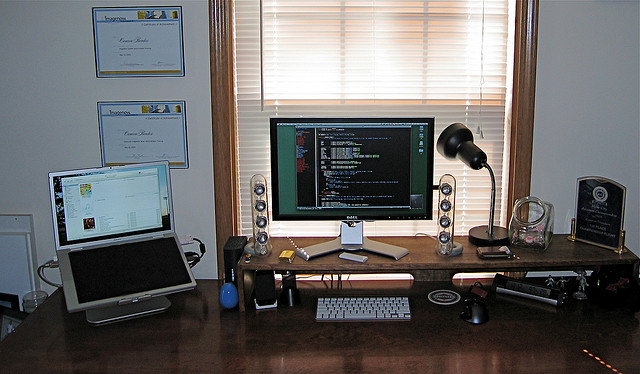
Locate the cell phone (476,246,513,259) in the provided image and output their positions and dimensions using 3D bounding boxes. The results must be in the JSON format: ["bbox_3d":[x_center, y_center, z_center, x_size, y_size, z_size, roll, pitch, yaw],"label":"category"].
[{"bbox_3d":[1.040,0.387,3.064,0.211,0.053,0.135,-1,8,10],"label":"cell phone"}]

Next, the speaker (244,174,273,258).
[{"bbox_3d":[-0.388,0.166,3.120,0.169,0.478,0.237,-4,10,-5],"label":"speaker"}]

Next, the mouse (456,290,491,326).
[{"bbox_3d":[0.892,0.704,3.002,0.147,0.126,0.201,0,7,-3],"label":"mouse"}]

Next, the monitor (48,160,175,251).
[{"bbox_3d":[-1.085,0.122,3.015,0.494,0.498,0.834,0,5,27],"label":"monitor"}]

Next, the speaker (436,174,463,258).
[{"bbox_3d":[0.777,0.161,3.110,0.153,0.473,0.269,-1,10,14],"label":"speaker"}]

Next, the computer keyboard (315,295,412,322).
[{"bbox_3d":[0.241,0.697,2.976,0.404,0.037,0.140,0,34,0],"label":"computer keyboard"}]

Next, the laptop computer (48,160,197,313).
[{"bbox_3d":[-1.125,0.266,2.929,0.793,0.552,0.586,-11,35,-26],"label":"laptop computer"}]

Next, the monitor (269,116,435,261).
[{"bbox_3d":[0.188,-0.010,3.117,1.105,0.803,0.333,-1,4,-28],"label":"monitor"}]
